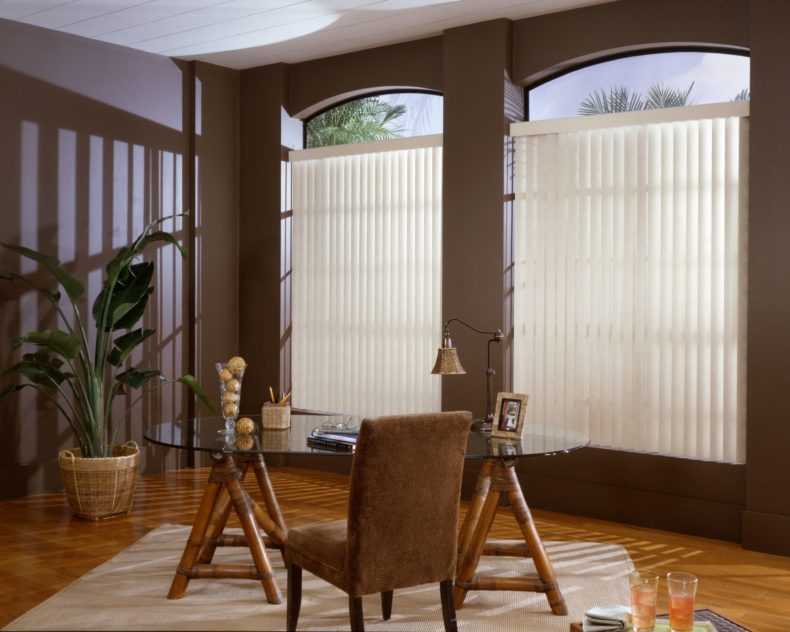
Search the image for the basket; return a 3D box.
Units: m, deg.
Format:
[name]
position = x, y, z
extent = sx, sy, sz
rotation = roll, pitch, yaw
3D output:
[basket]
position = -2.043, 1.140, 4.769
extent = 0.457, 0.415, 0.457
rotation = 0, -5, 3
